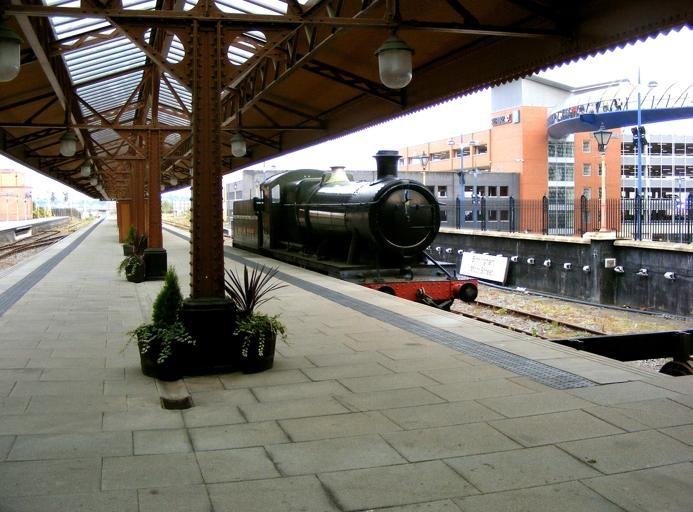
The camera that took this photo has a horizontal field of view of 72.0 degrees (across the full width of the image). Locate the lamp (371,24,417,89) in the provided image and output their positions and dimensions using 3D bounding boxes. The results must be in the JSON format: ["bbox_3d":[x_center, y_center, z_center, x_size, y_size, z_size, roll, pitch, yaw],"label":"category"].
[{"bbox_3d":[0.588,-2.350,5.772,0.509,0.619,0.474,4,18,29],"label":"lamp"}]

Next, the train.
[{"bbox_3d":[-0.709,-1.056,16.740,2.435,4.448,10.605,-3,6,-29],"label":"train"}]

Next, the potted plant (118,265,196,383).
[{"bbox_3d":[-2.297,0.829,6.162,0.847,1.181,0.907,6,0,31],"label":"potted plant"}]
